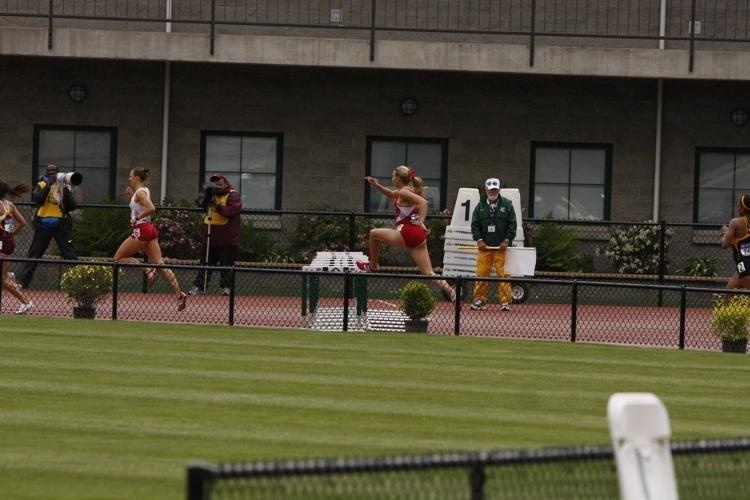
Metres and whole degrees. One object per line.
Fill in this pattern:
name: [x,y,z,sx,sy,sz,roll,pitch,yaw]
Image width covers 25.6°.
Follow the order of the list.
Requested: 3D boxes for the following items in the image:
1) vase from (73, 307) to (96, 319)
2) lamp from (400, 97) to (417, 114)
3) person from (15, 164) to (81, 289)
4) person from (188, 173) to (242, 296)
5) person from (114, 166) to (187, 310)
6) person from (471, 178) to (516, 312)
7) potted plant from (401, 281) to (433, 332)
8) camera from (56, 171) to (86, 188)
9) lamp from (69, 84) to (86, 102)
vase: [-4.917,1.051,27.845,0.353,0.182,0.222,3,2,-5]
lamp: [0.692,-3.066,34.870,0.343,0.342,0.080,-2,5,1]
person: [-6.066,-0.449,30.725,1.162,2.250,0.901,0,-3,5]
person: [-2.952,-0.268,30.937,0.862,2.154,0.741,0,-1,1]
person: [-3.774,-0.428,29.463,1.092,3.119,1.536,2,-1,-40]
person: [2.161,-0.129,30.354,0.876,2.399,0.642,-1,-5,9]
potted plant: [0.760,0.970,28.006,0.717,0.879,0.699,1,-2,-3]
camera: [-5.848,-1.340,31.310,0.263,0.238,0.974,-14,3,-19]
lamp: [-6.323,-3.367,35.075,0.354,0.351,0.086,3,2,-4]
